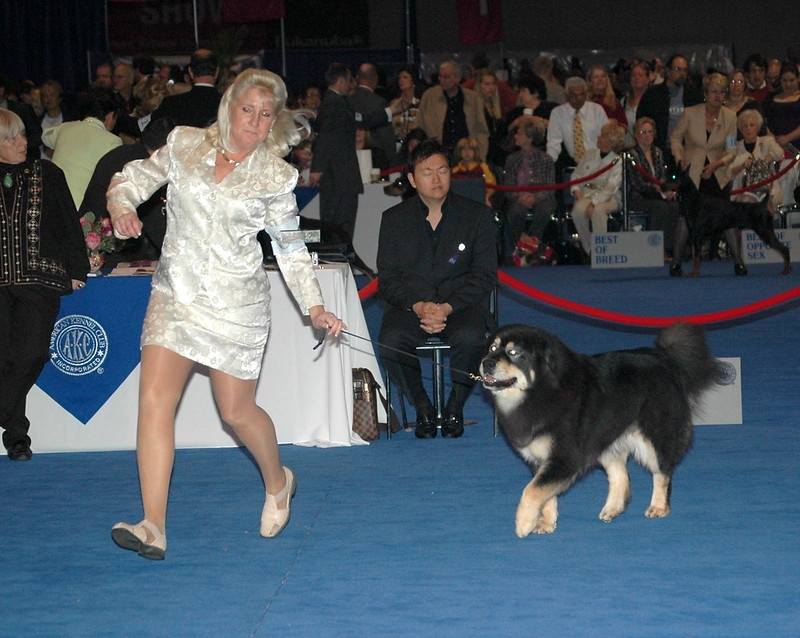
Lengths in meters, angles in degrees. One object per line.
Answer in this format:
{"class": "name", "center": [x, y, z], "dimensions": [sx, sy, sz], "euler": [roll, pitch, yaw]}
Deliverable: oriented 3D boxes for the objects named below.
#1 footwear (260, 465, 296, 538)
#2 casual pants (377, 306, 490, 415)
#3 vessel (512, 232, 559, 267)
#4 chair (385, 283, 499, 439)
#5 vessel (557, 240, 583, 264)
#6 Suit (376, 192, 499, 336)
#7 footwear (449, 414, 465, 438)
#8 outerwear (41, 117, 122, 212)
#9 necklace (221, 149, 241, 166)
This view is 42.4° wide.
{"class": "footwear", "center": [-0.550, 0.842, 4.843], "dimensions": [0.125, 0.351, 0.136], "euler": [2, -18, 30]}
{"class": "casual pants", "center": [0.208, 0.246, 6.574], "dimensions": [0.629, 0.864, 0.625], "euler": [-2, 1, 2]}
{"class": "vessel", "center": [1.766, -0.907, 13.336], "dimensions": [0.500, 0.379, 0.348], "euler": [7, -2, -7]}
{"class": "chair", "center": [0.217, 0.302, 6.406], "dimensions": [0.724, 1.311, 0.852], "euler": [-1, -25, 3]}
{"class": "vessel", "center": [2.255, -0.890, 13.613], "dimensions": [0.271, 0.359, 0.119], "euler": [4, 11, -4]}
{"class": "Suit", "center": [0.251, -0.368, 6.702], "dimensions": [1.011, 1.204, 0.720], "euler": [0, 8, 2]}
{"class": "footwear", "center": [0.344, 0.656, 6.334], "dimensions": [0.095, 0.127, 0.101], "euler": [-1, 12, 3]}
{"class": "outerwear", "center": [-2.212, -0.991, 7.256], "dimensions": [0.522, 0.725, 0.267], "euler": [8, -9, 5]}
{"class": "necklace", "center": [-0.723, -0.692, 4.405], "dimensions": [0.092, 0.073, 0.039], "euler": [-1, 12, 1]}
